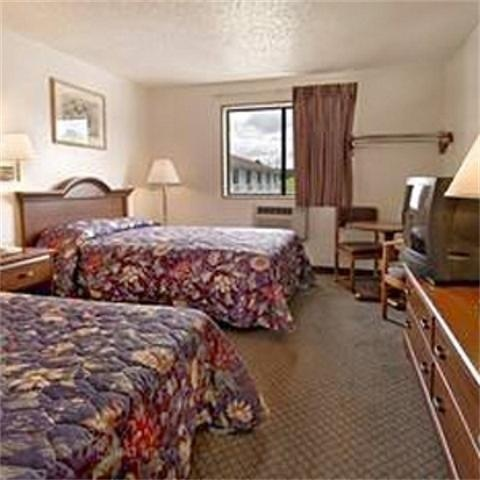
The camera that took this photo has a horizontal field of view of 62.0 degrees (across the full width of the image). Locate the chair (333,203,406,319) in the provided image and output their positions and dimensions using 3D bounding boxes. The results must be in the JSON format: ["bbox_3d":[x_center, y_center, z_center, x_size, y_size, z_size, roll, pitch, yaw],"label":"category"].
[{"bbox_3d":[1.400,0.070,4.464,0.671,0.867,0.991,2,8,14],"label":"chair"}]

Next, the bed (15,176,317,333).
[{"bbox_3d":[-0.682,0.131,3.485,1.751,0.968,1.487,1,6,17],"label":"bed"}]
